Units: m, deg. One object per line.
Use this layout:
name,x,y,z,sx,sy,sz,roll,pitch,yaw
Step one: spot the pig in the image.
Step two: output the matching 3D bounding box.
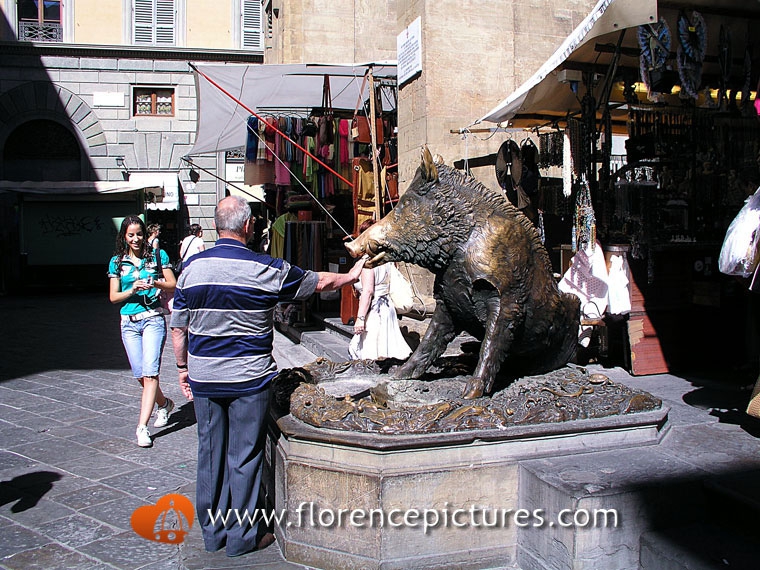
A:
pig,0.690,0.067,5.690,2.009,1.825,1.030,8,-16,-32

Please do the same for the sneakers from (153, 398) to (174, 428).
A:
sneakers,-2.271,1.341,7.693,0.106,0.138,0.345,-10,34,14

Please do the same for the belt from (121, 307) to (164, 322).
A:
belt,-2.352,0.295,7.239,0.378,0.108,0.126,-4,9,-18

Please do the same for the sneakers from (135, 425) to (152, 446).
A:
sneakers,-2.268,1.415,7.035,0.150,0.188,0.268,-3,9,-20

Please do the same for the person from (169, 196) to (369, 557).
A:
person,-0.971,0.617,5.252,0.901,2.431,0.525,-3,7,-20
